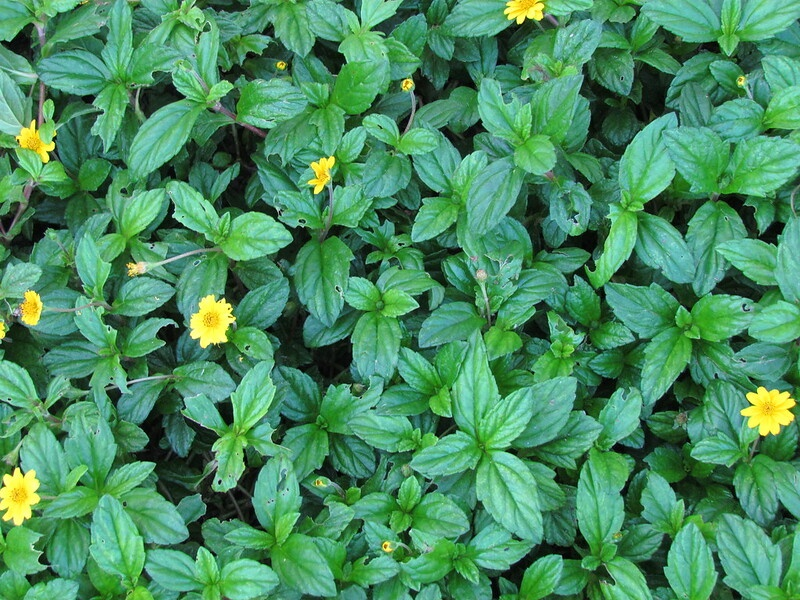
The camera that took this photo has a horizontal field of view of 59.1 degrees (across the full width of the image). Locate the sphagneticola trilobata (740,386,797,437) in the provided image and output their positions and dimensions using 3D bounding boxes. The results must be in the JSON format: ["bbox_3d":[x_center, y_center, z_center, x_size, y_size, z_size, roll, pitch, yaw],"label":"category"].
[{"bbox_3d":[1.430,0.443,2.791,0.187,0.193,0.176,4,67,0],"label":"sphagneticola trilobata"}]

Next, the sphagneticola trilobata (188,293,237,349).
[{"bbox_3d":[-0.802,0.091,3.007,0.192,0.153,0.252,0,68,-2],"label":"sphagneticola trilobata"}]

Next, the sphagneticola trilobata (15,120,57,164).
[{"bbox_3d":[-1.755,-0.755,3.384,0.192,0.059,0.198,40,101,8],"label":"sphagneticola trilobata"}]
